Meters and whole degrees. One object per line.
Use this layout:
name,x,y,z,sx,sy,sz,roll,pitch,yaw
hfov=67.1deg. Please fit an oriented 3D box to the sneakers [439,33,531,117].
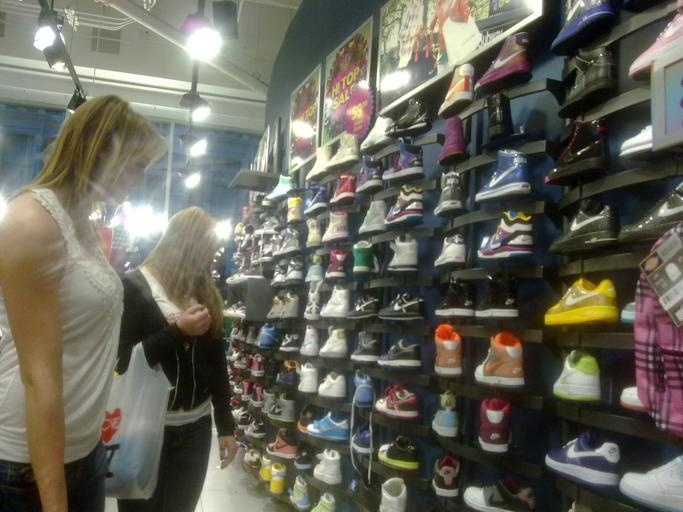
sneakers,0.788,-1.032,3.019,0.192,0.280,0.658,-2,-3,-18
